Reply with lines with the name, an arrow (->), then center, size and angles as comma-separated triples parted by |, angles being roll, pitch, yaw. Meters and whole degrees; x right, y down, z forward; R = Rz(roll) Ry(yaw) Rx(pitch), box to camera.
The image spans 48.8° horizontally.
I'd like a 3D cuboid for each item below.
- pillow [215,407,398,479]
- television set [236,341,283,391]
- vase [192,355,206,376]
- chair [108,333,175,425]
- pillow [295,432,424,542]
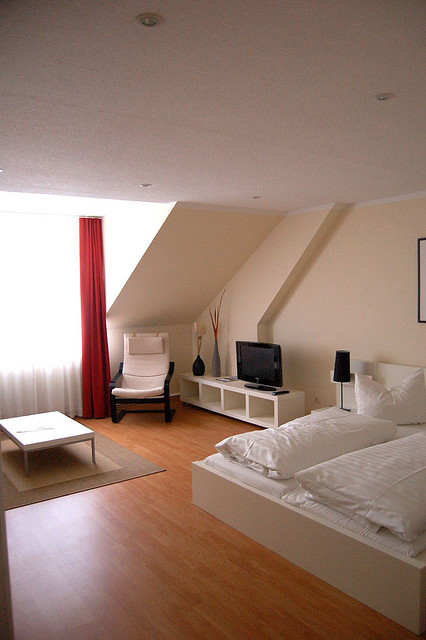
pillow -> 0.648, 0.736, 2.904 | 0.777, 0.162, 0.469 | -12, 11, -33
television set -> 0.520, 0.520, 5.324 | 0.196, 0.536, 0.715 | -9, 8, -38
vase -> -0.150, 0.597, 6.229 | 0.218, 0.340, 0.234 | 1, 5, 1
chair -> -0.863, 0.721, 5.768 | 0.729, 1.032, 0.807 | -1, 3, -7
pillow -> 0.764, 0.785, 2.249 | 0.388, 0.093, 0.346 | -10, 14, -41
